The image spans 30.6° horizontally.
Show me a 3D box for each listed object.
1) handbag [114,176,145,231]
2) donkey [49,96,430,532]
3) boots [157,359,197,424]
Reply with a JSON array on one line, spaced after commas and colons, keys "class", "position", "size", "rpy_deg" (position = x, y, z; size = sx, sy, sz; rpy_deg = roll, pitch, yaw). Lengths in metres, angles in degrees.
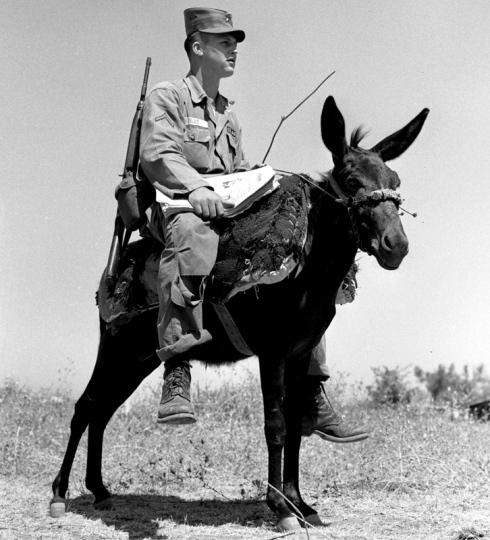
[{"class": "handbag", "position": [-0.784, -0.475, 6.212], "size": [0.220, 0.477, 0.337], "rpy_deg": [-1, -26, -11]}, {"class": "donkey", "position": [-0.032, 0.308, 6.309], "size": [2.305, 3.035, 1.139], "rpy_deg": [2, 8, 11]}, {"class": "boots", "position": [-0.437, 0.798, 5.690], "size": [0.191, 0.481, 0.274], "rpy_deg": [0, 1, -26]}]
